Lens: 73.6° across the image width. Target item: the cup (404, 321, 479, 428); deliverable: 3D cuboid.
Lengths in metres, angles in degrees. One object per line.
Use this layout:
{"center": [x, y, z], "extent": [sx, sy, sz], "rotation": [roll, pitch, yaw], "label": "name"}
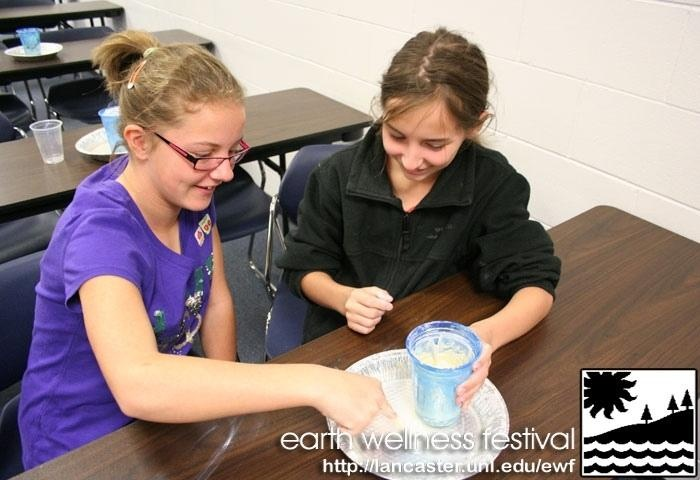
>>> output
{"center": [0.197, 0.287, 0.983], "extent": [0.159, 0.173, 0.142], "rotation": [-8, 31, -11], "label": "cup"}
